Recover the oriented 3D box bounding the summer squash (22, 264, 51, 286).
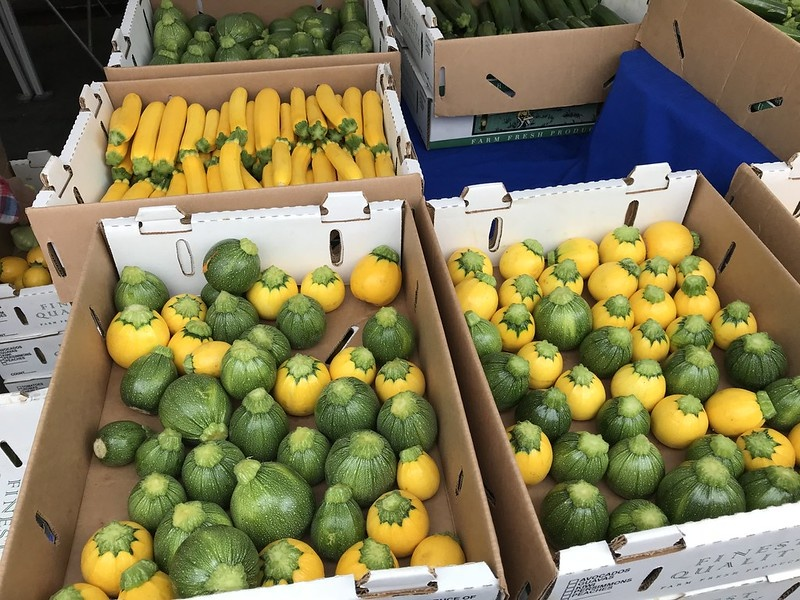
[{"bbox_3d":[-2.008,-0.134,3.631,0.079,0.108,0.078,-4,27,-40],"label":"summer squash"}]

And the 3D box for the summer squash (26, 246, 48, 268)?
[{"bbox_3d":[-2.012,-0.236,3.634,0.090,0.095,0.122,-7,73,-34],"label":"summer squash"}]
